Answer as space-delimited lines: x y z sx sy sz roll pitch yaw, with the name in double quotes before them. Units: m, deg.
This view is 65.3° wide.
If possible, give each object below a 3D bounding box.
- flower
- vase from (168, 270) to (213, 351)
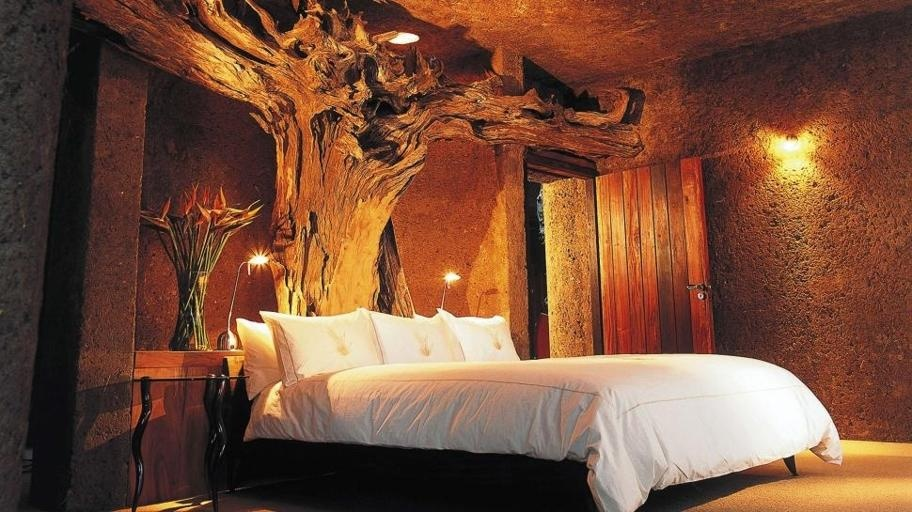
"flower" -2.136 0.161 5.904 0.959 1.191 0.974 7 -6 -43
"vase" -2.138 0.440 5.724 0.291 0.635 0.219 2 -9 -20
